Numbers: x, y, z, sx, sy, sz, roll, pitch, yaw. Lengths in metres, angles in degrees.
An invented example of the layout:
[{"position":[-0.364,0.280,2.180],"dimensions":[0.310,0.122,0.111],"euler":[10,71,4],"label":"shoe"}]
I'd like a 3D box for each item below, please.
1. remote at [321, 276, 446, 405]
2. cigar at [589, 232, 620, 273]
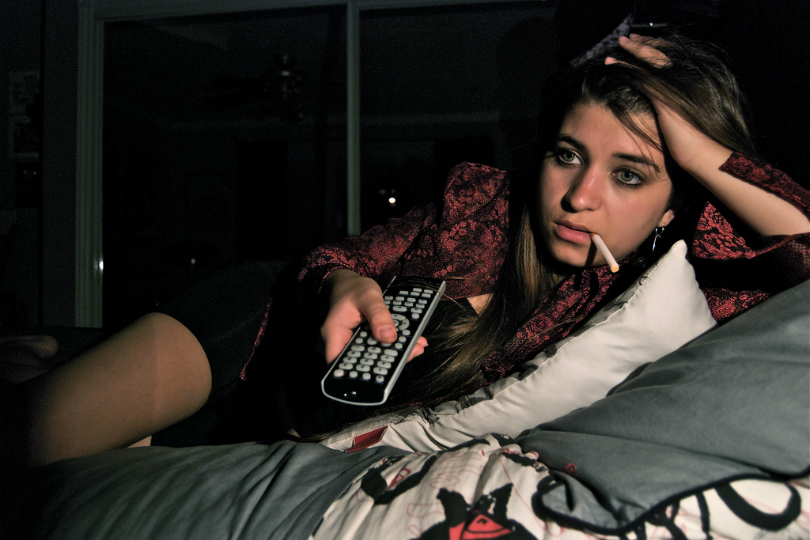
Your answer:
[{"position":[-0.037,0.169,1.506],"dimensions":[0.157,0.062,0.457],"euler":[7,41,25],"label":"remote"},{"position":[0.489,-0.049,1.579],"dimensions":[0.035,0.027,0.161],"euler":[7,29,-14],"label":"cigar"}]
